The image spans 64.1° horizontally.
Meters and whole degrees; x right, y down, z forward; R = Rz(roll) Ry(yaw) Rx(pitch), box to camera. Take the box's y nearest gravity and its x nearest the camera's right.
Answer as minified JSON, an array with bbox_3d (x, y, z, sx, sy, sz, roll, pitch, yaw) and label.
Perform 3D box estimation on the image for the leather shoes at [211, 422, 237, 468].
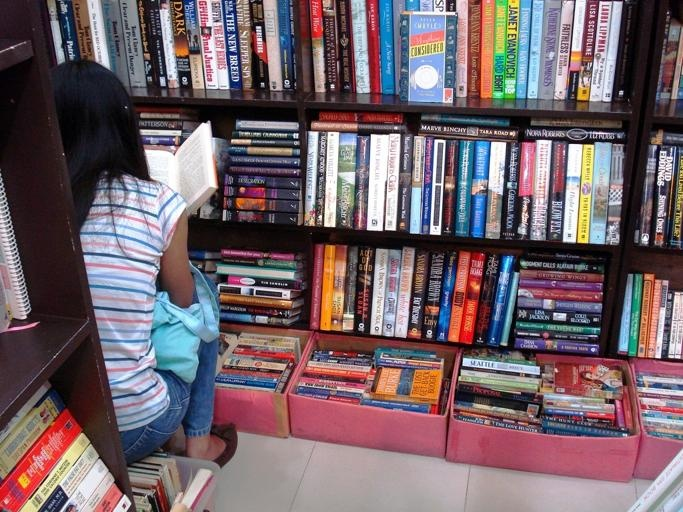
[{"bbox_3d":[-0.448,0.724,2.070,0.038,0.117,0.090,-4,-55,-19],"label":"leather shoes"}]
